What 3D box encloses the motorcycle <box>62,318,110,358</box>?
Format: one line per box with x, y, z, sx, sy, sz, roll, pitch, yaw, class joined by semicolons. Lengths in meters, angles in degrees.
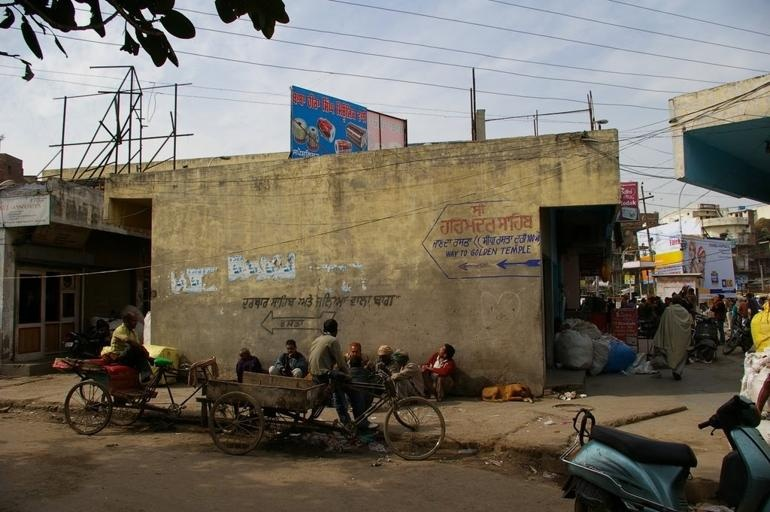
-7.841;2.212;19.946;1.040;1.008;0.791;2;-13;-11;motorcycle

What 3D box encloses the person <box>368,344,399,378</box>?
-0.170;2.164;15.653;0.544;0.829;0.547;-3;-13;10;person

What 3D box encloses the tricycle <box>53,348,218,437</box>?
-4.860;2.634;14.636;2.996;1.312;1.609;-3;-4;13;tricycle

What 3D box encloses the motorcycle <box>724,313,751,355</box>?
9.910;2.260;21.383;0.692;0.978;2.354;-2;-3;25;motorcycle

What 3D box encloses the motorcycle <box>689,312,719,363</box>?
8.269;2.275;20.129;0.759;0.936;1.613;1;-5;21;motorcycle

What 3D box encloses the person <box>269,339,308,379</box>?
-1.947;2.193;15.615;0.785;1.041;0.771;-6;-17;16;person

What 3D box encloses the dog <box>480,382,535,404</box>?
2.492;2.862;15.740;0.971;0.365;0.408;-2;-21;14;dog

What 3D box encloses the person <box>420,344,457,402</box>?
1.136;2.509;15.862;0.714;1.137;0.848;16;-17;-23;person
